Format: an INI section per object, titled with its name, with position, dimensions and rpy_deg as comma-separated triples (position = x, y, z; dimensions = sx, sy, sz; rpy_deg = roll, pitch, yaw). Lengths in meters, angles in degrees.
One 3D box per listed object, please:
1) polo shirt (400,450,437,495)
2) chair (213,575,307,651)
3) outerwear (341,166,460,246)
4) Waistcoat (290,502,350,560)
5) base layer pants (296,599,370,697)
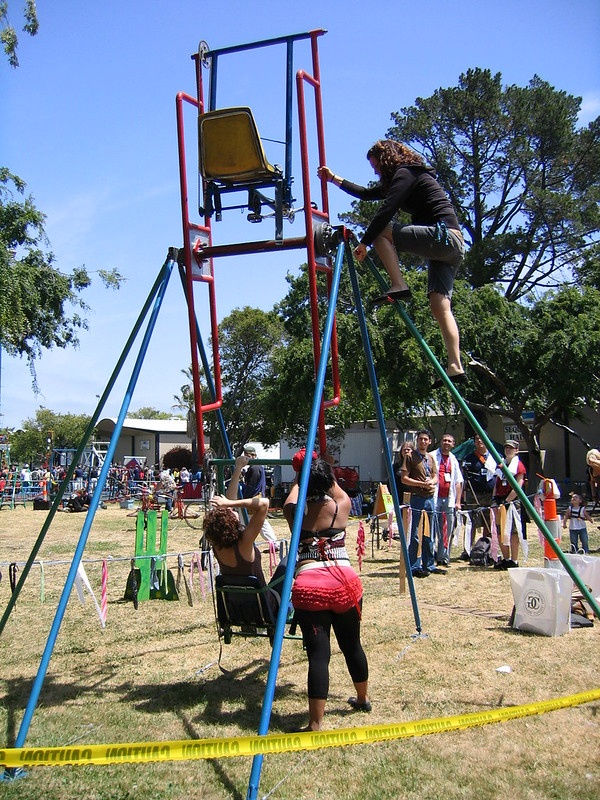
[polo shirt]
position = 1.390, 0.854, 8.309
dimensions = 0.465, 0.551, 0.293
rpy_deg = 10, -11, -38
[chair]
position = -0.306, 1.199, 4.112
dimensions = 0.386, 0.385, 0.563
rpy_deg = -1, -11, 14
[outerwear]
position = 0.612, -1.149, 4.150
dimensions = 0.620, 0.544, 0.797
rpy_deg = -2, -4, 11
[Waistcoat]
position = 0.104, 0.682, 3.604
dimensions = 0.206, 0.300, 0.164
rpy_deg = 0, -11, 2
[base layer pants]
position = 0.131, 1.273, 3.567
dimensions = 0.251, 0.466, 0.558
rpy_deg = -3, -4, 29
